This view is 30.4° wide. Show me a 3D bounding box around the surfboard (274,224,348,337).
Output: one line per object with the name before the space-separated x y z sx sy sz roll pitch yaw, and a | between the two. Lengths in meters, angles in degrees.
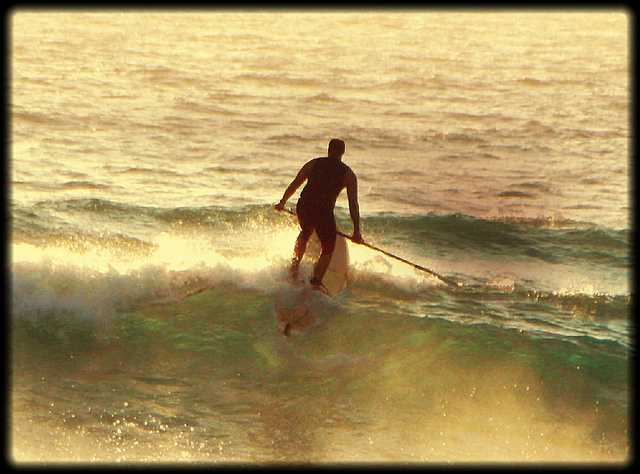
surfboard | -0.020 0.796 19.071 0.785 0.322 2.184 13 88 5

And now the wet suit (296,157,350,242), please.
wet suit | 0.010 -0.643 18.882 0.818 0.748 1.307 2 104 -3

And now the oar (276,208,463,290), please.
oar | 0.608 0.033 19.142 3.536 0.181 0.215 23 87 -39
